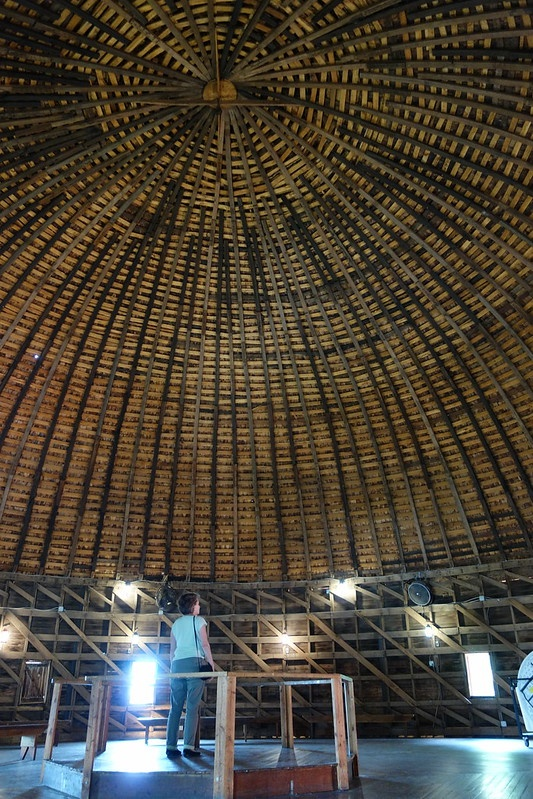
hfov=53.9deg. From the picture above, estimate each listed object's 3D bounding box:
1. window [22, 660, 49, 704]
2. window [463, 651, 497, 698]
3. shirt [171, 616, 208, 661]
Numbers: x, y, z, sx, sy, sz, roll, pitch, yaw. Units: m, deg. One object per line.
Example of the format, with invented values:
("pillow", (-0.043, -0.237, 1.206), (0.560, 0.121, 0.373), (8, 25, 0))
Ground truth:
("window", (-5.611, 6.895, 12.714), (0.630, 1.121, 0.188), (25, -60, -33))
("window", (5.344, 6.947, 13.149), (0.813, 1.508, 0.147), (-20, -51, 27))
("shirt", (-0.848, 2.631, 5.742), (0.453, 0.488, 0.265), (-21, -43, 14))
